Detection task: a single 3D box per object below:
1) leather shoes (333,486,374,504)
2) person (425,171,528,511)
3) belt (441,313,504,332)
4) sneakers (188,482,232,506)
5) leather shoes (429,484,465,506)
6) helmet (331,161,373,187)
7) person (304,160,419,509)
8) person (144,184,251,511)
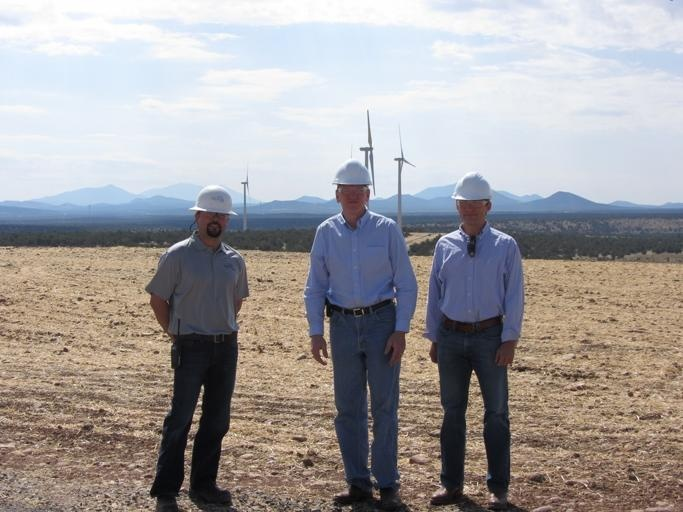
[{"bbox_3d":[0.130,2.650,10.498,0.441,0.196,0.168,2,2,-7],"label":"leather shoes"},{"bbox_3d":[1.440,0.910,10.434,1.057,3.508,1.069,2,12,11],"label":"person"},{"bbox_3d":[1.439,0.747,10.454,0.648,0.180,0.144,3,12,12],"label":"belt"},{"bbox_3d":[-1.434,2.602,10.338,0.398,0.188,0.201,2,0,4],"label":"sneakers"},{"bbox_3d":[1.166,2.657,10.456,0.352,0.176,0.155,2,-2,-14],"label":"leather shoes"},{"bbox_3d":[0.126,-0.915,10.436,0.363,0.314,0.583,0,12,-2],"label":"helmet"},{"bbox_3d":[0.232,0.821,10.522,1.339,3.695,1.027,10,15,40],"label":"person"},{"bbox_3d":[-1.569,0.988,10.291,0.925,3.354,1.082,-1,12,-5],"label":"person"}]
